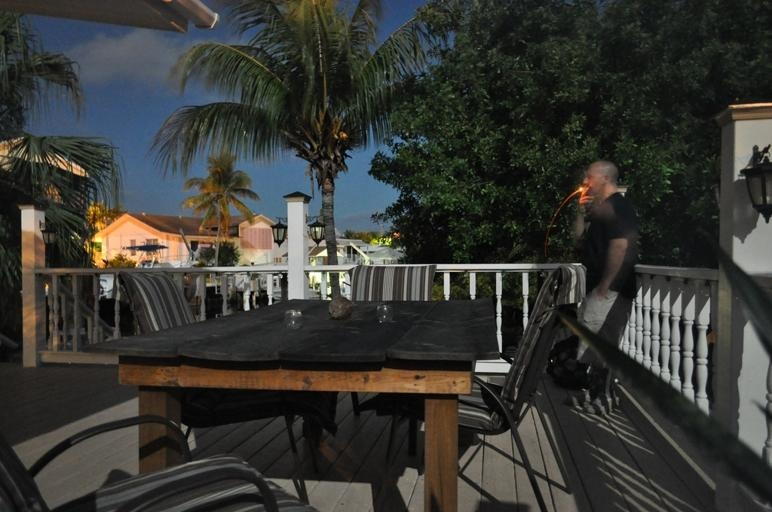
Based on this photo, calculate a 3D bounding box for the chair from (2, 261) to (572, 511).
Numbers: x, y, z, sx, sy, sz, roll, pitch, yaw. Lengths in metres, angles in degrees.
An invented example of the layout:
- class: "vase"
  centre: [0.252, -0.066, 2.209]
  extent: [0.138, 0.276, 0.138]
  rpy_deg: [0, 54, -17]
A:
- class: "chair"
  centre: [-0.446, 1.367, 6.247]
  extent: [4.332, 2.357, 1.950]
  rpy_deg: [-1, 3, 9]

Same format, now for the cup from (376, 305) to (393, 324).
- class: "cup"
  centre: [-0.004, 0.589, 6.705]
  extent: [0.142, 0.168, 0.157]
  rpy_deg: [0, 1, -2]

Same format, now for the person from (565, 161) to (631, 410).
- class: "person"
  centre: [2.600, 0.331, 7.876]
  extent: [0.717, 2.986, 0.684]
  rpy_deg: [0, 3, 20]

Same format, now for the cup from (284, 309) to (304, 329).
- class: "cup"
  centre: [-0.911, 0.627, 6.622]
  extent: [0.150, 0.167, 0.156]
  rpy_deg: [0, -3, 0]
